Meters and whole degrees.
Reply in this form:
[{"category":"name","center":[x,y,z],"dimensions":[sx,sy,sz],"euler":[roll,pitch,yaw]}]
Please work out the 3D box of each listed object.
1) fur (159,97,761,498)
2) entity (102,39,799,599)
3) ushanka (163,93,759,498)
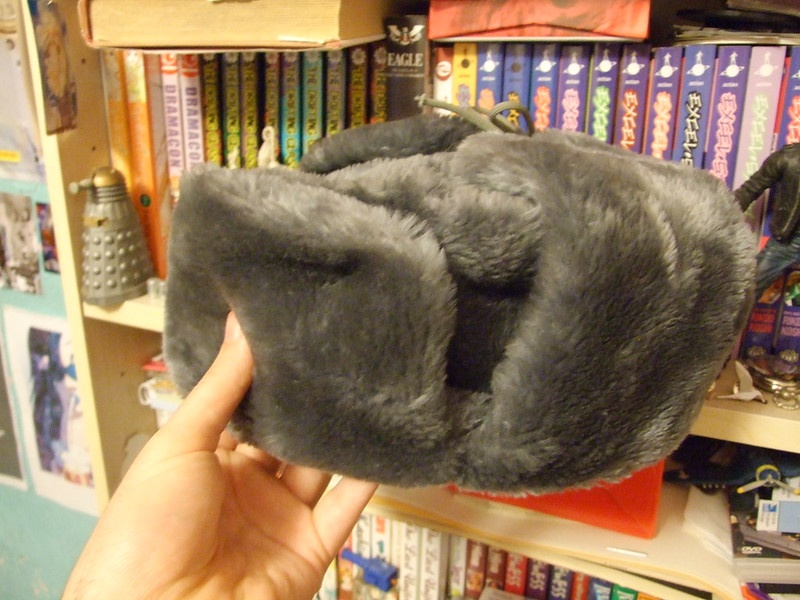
[{"category":"fur","center":[0.069,0.025,0.791],"dimensions":[0.486,0.267,0.430],"euler":[0,11,2]},{"category":"entity","center":[0.074,-0.028,0.796],"dimensions":[0.484,0.262,0.406],"euler":[7,16,32]},{"category":"ushanka","center":[0.073,0.010,0.788],"dimensions":[0.485,0.264,0.430],"euler":[2,10,10]}]
